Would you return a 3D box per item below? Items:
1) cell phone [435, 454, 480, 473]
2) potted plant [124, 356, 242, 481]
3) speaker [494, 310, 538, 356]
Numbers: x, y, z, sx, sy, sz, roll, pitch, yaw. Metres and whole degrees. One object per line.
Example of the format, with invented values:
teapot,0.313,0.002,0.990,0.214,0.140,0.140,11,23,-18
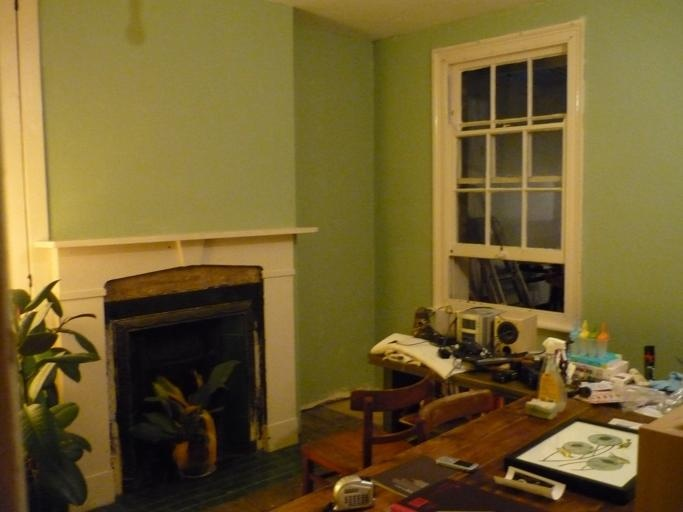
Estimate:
cell phone,0.335,0.596,1.673,0.077,0.011,0.040,1,1,40
potted plant,-0.983,0.928,3.484,0.741,0.609,0.609,0,-5,-22
speaker,0.986,0.422,3.218,0.235,0.286,0.209,0,-1,-10
